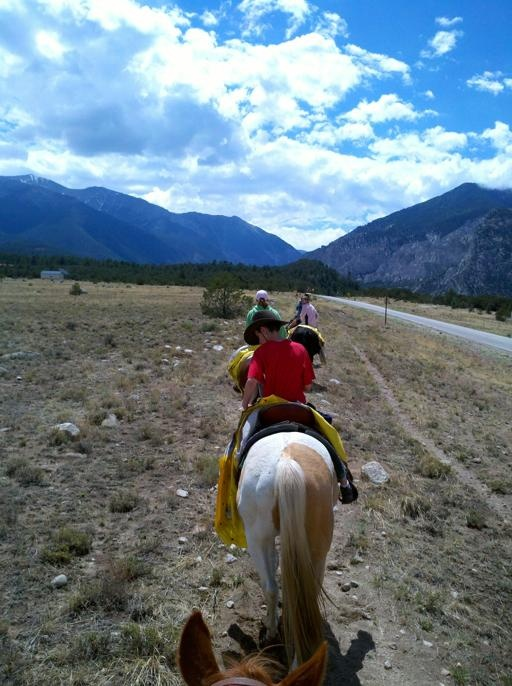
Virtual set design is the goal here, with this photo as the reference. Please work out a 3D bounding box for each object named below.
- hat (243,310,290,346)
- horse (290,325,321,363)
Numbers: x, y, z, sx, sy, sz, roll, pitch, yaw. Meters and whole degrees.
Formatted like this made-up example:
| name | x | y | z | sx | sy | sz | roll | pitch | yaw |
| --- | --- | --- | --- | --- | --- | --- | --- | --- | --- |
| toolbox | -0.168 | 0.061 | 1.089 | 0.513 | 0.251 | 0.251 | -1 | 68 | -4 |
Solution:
| name | x | y | z | sx | sy | sz | roll | pitch | yaw |
| --- | --- | --- | --- | --- | --- | --- | --- | --- | --- |
| hat | 0.060 | -0.225 | 5.186 | 0.387 | 0.502 | 0.211 | 10 | 46 | -8 |
| horse | 1.126 | -0.035 | 10.080 | 0.388 | 0.758 | 1.281 | -2 | 29 | -8 |
